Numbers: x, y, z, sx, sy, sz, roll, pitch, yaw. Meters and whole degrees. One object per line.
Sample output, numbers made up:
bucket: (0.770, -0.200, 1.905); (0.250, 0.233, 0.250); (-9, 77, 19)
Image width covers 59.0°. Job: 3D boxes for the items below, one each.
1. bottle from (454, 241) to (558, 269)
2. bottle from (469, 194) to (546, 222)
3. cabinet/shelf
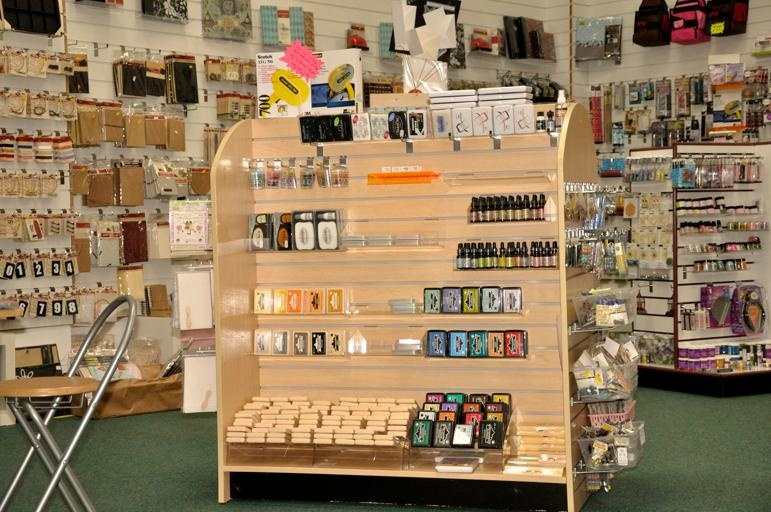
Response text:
bottle: (0.994, -0.013, 5.659); (0.824, 0.217, 0.119); (-2, 7, 12)
bottle: (1.005, -0.397, 5.679); (0.639, 0.220, 0.095); (-1, 7, 16)
cabinet/shelf: (0.242, 0.441, 5.715); (3.276, 3.580, 1.953); (0, -4, 14)
